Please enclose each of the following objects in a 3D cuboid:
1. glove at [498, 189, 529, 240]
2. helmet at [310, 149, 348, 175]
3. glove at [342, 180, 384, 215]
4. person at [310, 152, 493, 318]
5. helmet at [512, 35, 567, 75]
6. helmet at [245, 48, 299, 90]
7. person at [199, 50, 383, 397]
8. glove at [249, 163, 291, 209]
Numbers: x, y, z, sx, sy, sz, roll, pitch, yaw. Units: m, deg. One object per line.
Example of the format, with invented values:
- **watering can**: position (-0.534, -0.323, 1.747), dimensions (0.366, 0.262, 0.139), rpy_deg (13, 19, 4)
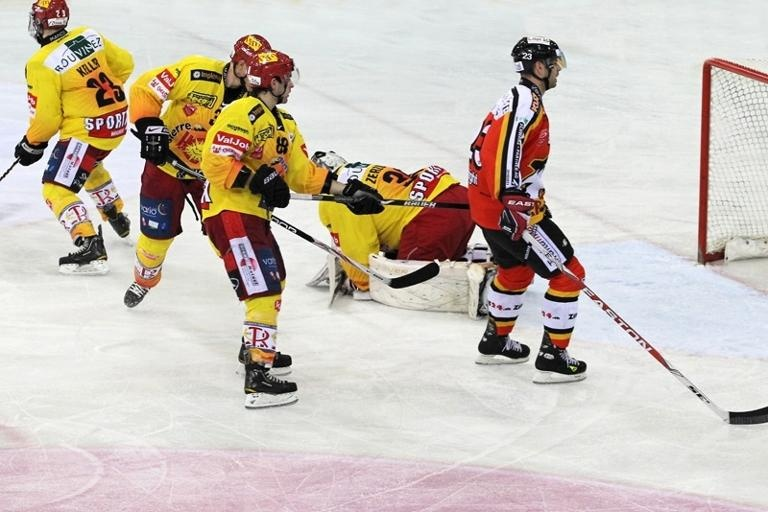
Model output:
- **glove**: position (0.787, -0.251, 5.747), dimensions (0.234, 0.243, 0.140), rpy_deg (6, 23, 34)
- **helmet**: position (-0.457, -0.701, 7.344), dimensions (0.312, 0.073, 0.212), rpy_deg (22, 29, 13)
- **glove**: position (-0.129, -0.371, 5.999), dimensions (0.276, 0.097, 0.223), rpy_deg (23, 42, -3)
- **person**: position (0.196, -0.181, 6.998), dimensions (1.713, 0.809, 0.873), rpy_deg (11, 26, 21)
- **helmet**: position (0.946, -1.266, 5.938), dimensions (0.363, 0.173, 0.224), rpy_deg (-1, 11, 2)
- **helmet**: position (-0.675, -1.132, 5.790), dimensions (0.339, 0.240, 0.201), rpy_deg (-13, 38, -5)
- **person**: position (-0.691, -0.176, 5.848), dimensions (0.812, 2.116, 0.839), rpy_deg (14, 21, 24)
- **glove**: position (-0.670, -0.401, 5.697), dimensions (0.232, 0.288, 0.174), rpy_deg (4, 18, -2)
